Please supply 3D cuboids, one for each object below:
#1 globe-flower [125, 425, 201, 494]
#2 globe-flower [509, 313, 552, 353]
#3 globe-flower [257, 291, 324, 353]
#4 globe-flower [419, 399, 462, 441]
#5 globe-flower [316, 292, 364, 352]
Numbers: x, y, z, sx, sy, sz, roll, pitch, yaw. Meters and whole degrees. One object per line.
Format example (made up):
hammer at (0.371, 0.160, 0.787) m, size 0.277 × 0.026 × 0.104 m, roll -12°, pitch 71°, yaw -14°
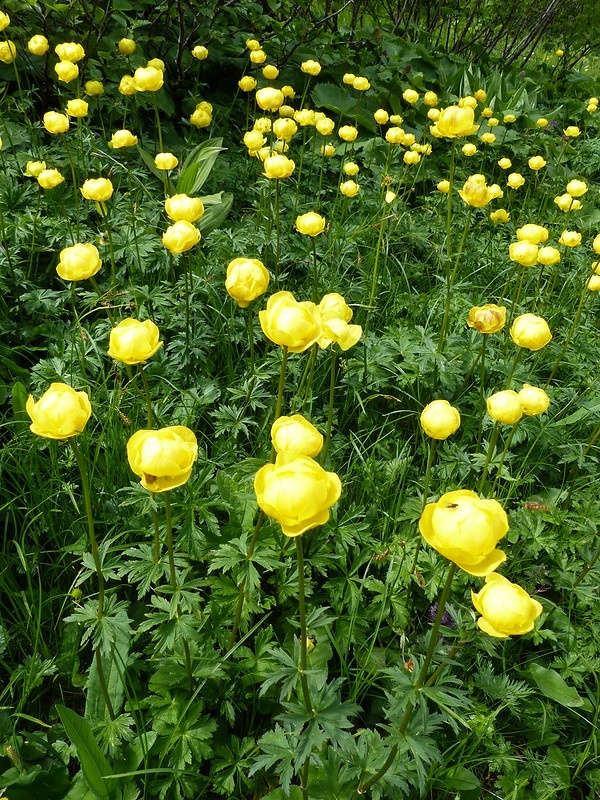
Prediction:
globe-flower at (-0.250, 0.092, 1.261) m, size 0.122 × 0.104 × 0.138 m, roll -1°, pitch 47°, yaw -22°
globe-flower at (0.604, -0.174, 1.832) m, size 0.102 × 0.111 × 0.123 m, roll 7°, pitch 5°, yaw 26°
globe-flower at (-0.016, -0.141, 1.301) m, size 0.107 × 0.120 × 0.081 m, roll 1°, pitch 43°, yaw 15°
globe-flower at (0.302, 0.032, 1.471) m, size 0.089 × 0.092 × 0.075 m, roll 2°, pitch 28°, yaw 13°
globe-flower at (0.083, -0.159, 1.579) m, size 0.115 × 0.065 × 0.137 m, roll 35°, pitch 46°, yaw -21°
